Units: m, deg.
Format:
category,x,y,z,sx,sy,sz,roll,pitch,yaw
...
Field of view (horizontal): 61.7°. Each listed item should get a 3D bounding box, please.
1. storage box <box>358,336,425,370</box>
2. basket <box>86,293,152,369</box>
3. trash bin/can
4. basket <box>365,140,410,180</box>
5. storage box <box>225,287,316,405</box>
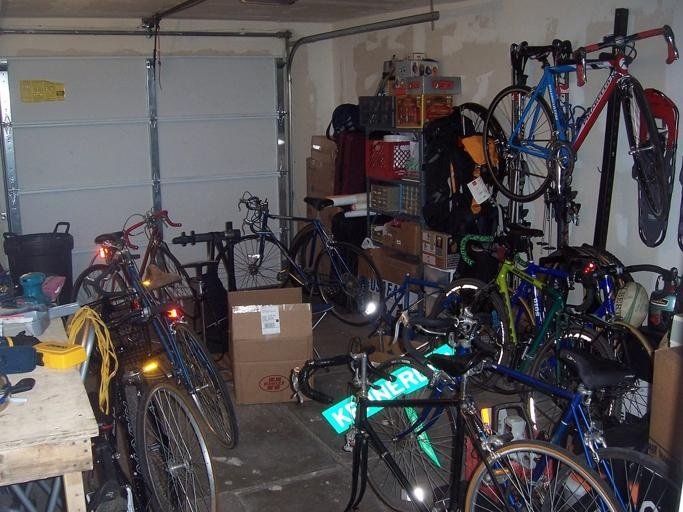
category,x,y,z,sx,sy,sz,roll,pitch,yaw
storage box,0.348,0.748,4.735,0.375,0.133,0.402,-15,30,-12
basket,-1.143,0.396,2.936,0.189,0.379,0.216,-10,17,37
trash bin/can,-3.021,0.091,5.742,0.602,0.802,0.504,-9,17,-32
basket,0.435,-0.952,5.657,0.393,0.404,0.397,11,13,42
storage box,-0.524,0.649,4.647,0.696,1.100,0.755,-4,12,-8
